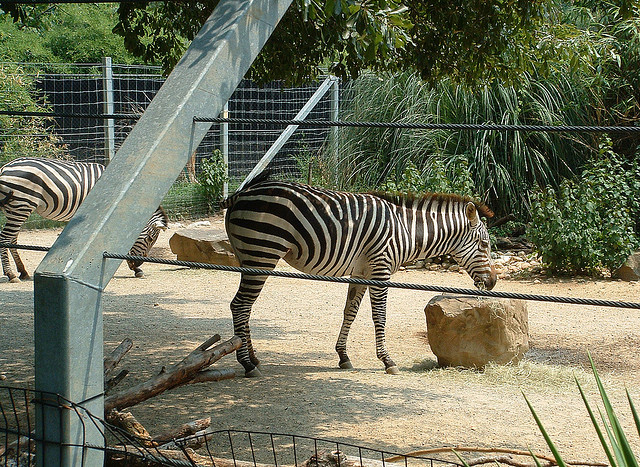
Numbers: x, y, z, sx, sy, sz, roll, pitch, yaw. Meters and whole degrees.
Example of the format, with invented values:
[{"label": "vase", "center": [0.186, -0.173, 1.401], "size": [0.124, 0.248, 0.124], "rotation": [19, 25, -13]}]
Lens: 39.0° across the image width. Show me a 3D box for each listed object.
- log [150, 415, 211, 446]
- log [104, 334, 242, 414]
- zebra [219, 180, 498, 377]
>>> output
[{"label": "log", "center": [-1.151, 1.613, 7.384], "size": [0.599, 0.139, 0.157], "rotation": [-18, -34, -10]}, {"label": "log", "center": [-1.368, 1.330, 8.374], "size": [1.805, 0.394, 0.311], "rotation": [-15, 20, -35]}, {"label": "zebra", "center": [0.442, 0.388, 9.671], "size": [2.853, 1.916, 0.772], "rotation": [-4, 14, -22]}]
